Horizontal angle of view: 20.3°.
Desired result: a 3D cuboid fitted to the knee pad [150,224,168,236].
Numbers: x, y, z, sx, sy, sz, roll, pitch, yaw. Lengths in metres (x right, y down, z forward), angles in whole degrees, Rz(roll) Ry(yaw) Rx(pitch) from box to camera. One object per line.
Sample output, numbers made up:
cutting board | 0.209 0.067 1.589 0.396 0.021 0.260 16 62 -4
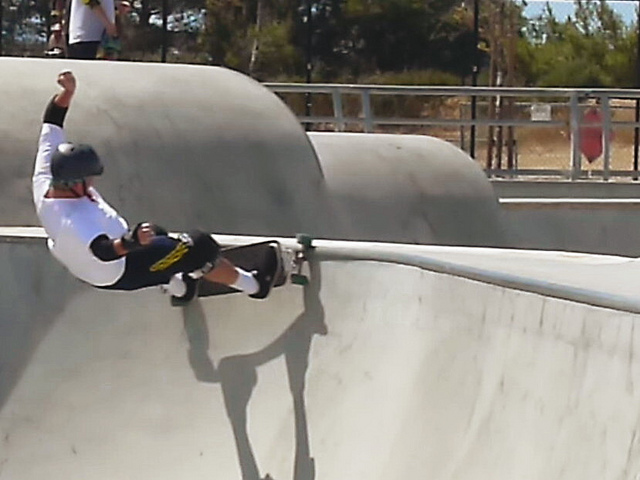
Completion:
knee pad | -1.776 -0.111 19.538 0.216 0.142 0.138 -6 10 -20

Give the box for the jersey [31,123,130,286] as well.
jersey | -2.706 -0.329 19.755 0.539 0.738 1.673 -27 51 -19
